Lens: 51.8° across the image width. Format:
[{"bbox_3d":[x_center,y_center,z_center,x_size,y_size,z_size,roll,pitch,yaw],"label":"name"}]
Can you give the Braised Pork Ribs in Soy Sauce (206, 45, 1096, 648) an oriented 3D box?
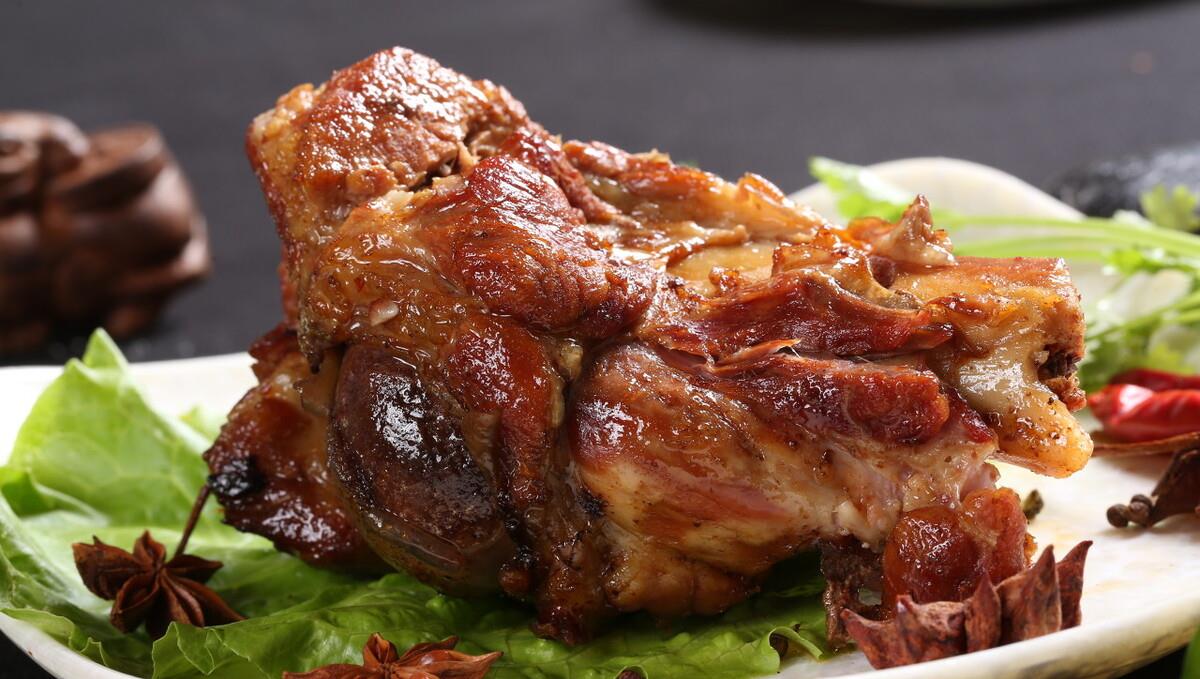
[{"bbox_3d":[0.191,-0.054,4.924,3.317,1.373,1.820,21,44,22],"label":"Braised Pork Ribs in Soy Sauce"}]
